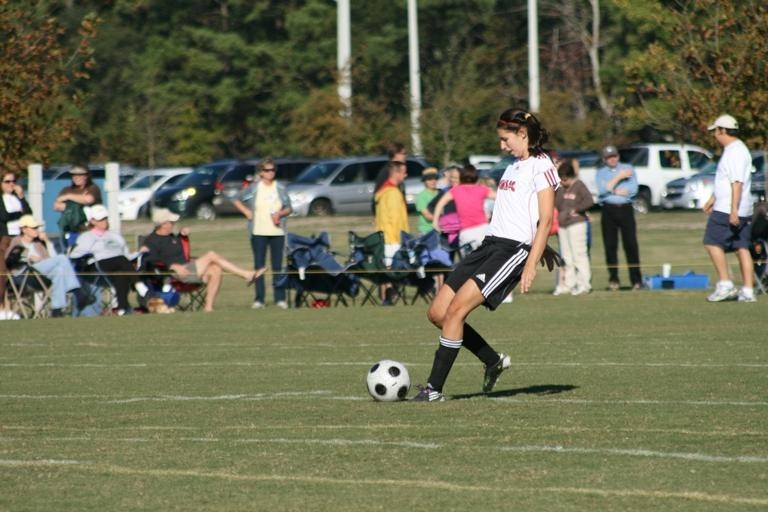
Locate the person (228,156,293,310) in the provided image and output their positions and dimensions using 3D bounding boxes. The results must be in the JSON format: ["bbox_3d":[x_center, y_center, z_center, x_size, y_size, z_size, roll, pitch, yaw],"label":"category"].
[{"bbox_3d":[-2.382,-0.399,37.400,1.306,2.893,1.431,0,-1,1],"label":"person"}]

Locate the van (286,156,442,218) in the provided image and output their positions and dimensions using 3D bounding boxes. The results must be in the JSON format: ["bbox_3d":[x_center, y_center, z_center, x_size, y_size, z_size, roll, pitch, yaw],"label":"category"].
[{"bbox_3d":[-0.705,-2.027,51.711,3.908,1.187,1.620,0,2,-13],"label":"van"}]

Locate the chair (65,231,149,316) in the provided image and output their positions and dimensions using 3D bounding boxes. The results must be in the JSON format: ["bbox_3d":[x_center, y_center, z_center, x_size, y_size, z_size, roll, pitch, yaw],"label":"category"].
[{"bbox_3d":[-5.625,0.283,36.479,1.027,1.522,0.958,2,-2,-27],"label":"chair"}]

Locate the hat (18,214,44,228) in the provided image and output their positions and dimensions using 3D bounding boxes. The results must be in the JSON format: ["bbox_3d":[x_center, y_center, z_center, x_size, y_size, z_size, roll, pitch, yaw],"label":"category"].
[{"bbox_3d":[-7.025,-0.693,36.288,0.351,0.161,0.254,-12,8,20],"label":"hat"}]

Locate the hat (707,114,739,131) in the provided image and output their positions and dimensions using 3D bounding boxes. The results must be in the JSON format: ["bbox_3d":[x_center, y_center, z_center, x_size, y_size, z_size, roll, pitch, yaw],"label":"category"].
[{"bbox_3d":[6.630,-2.596,35.493,0.493,0.207,0.605,-1,0,14],"label":"hat"}]

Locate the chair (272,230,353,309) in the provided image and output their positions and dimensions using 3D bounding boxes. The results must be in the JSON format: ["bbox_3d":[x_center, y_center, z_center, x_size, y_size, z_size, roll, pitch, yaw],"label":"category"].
[{"bbox_3d":[-1.476,0.239,37.717,1.606,1.709,1.658,0,-2,45],"label":"chair"}]

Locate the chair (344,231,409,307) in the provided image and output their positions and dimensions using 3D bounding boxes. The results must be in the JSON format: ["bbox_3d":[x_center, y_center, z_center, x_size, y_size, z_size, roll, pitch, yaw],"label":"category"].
[{"bbox_3d":[-0.161,0.289,37.343,1.273,1.237,1.361,20,23,34],"label":"chair"}]

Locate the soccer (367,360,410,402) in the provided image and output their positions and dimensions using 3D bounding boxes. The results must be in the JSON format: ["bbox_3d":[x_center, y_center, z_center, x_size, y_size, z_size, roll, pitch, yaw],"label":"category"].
[{"bbox_3d":[0.084,2.127,31.119,0.745,0.651,0.746,3,-1,41],"label":"soccer"}]

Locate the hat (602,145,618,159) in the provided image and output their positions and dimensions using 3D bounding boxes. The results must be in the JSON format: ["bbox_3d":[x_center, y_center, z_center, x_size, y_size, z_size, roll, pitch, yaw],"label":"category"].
[{"bbox_3d":[4.798,-2.207,38.666,0.317,0.284,0.552,-1,0,6],"label":"hat"}]

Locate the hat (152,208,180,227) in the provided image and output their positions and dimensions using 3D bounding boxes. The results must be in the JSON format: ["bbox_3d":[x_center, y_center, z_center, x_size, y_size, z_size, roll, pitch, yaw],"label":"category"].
[{"bbox_3d":[-4.519,-0.779,37.005,0.603,0.211,0.395,0,9,34],"label":"hat"}]

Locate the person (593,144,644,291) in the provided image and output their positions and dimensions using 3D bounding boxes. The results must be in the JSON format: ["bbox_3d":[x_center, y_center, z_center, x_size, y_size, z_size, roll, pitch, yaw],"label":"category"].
[{"bbox_3d":[4.990,-0.820,38.608,0.875,3.066,0.745,-1,-1,-33],"label":"person"}]

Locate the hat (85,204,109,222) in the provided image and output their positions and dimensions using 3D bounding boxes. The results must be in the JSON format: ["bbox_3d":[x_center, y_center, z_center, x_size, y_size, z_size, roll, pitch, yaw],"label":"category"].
[{"bbox_3d":[-5.760,-0.876,36.581,0.405,0.342,0.530,-1,0,-15],"label":"hat"}]
